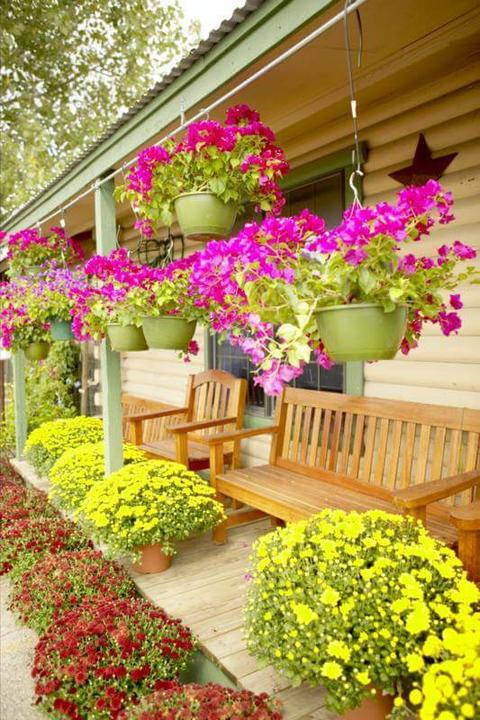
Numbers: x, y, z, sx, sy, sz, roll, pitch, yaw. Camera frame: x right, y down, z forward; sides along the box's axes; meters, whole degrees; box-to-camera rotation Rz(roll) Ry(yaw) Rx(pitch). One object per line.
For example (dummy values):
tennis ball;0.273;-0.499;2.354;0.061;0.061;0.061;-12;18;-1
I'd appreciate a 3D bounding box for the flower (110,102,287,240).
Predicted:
flower;-0.068;-0.748;1.813;0.403;0.208;0.266;-4;-7;-36

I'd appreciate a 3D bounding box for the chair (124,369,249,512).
chair;-0.422;0.551;3.802;0.917;1.267;0.912;-2;3;-41
